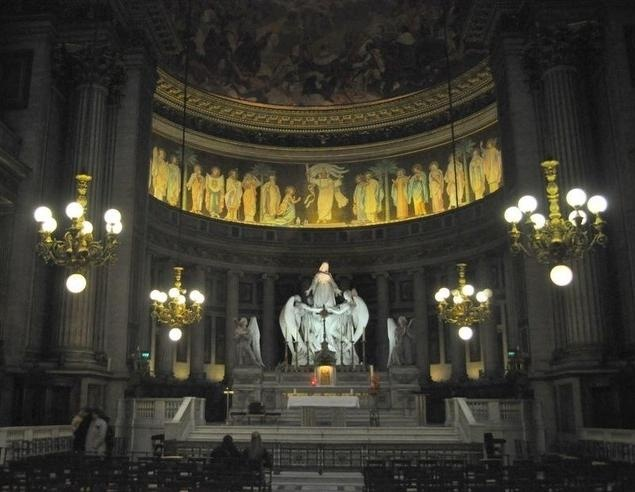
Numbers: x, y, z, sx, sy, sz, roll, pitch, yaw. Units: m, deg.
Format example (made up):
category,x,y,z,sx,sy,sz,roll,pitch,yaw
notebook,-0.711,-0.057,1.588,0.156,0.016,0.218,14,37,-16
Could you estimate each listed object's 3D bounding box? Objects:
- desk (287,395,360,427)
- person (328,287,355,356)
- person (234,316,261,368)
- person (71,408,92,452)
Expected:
category,x,y,z,sx,sy,sz,roll,pitch,yaw
desk,0.245,5.270,28.288,2.176,1.218,2.476,1,-16,-7
person,1.007,3.108,33.128,0.846,2.783,0.566,-1,-16,1
person,-2.470,3.499,32.026,1.031,1.922,0.931,0,-16,-4
person,-6.468,5.007,23.894,0.245,0.985,0.738,9,1,-39
